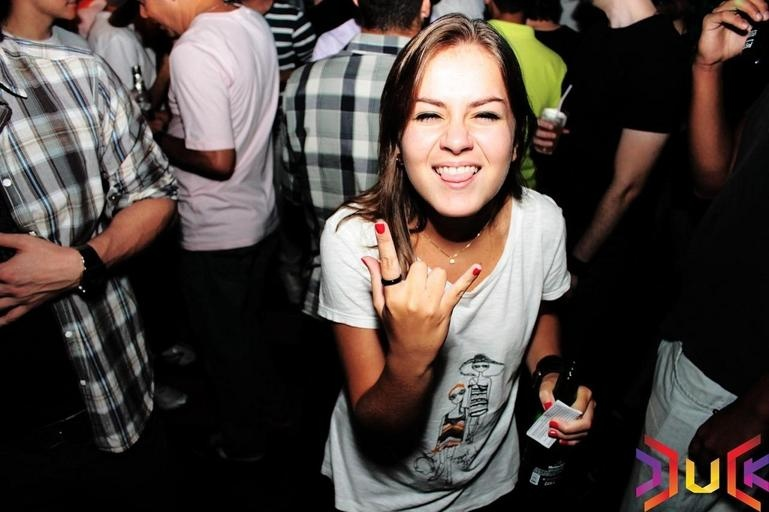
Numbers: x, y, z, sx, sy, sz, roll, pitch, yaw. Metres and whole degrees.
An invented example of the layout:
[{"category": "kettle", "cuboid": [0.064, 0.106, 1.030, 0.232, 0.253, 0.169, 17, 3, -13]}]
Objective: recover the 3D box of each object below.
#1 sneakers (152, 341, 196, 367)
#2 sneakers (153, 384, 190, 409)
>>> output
[{"category": "sneakers", "cuboid": [-1.519, 0.695, 4.129, 0.227, 0.085, 0.159, -6, 32, -13]}, {"category": "sneakers", "cuboid": [-1.427, 0.924, 3.812, 0.190, 0.125, 0.185, 26, -19, -25]}]
